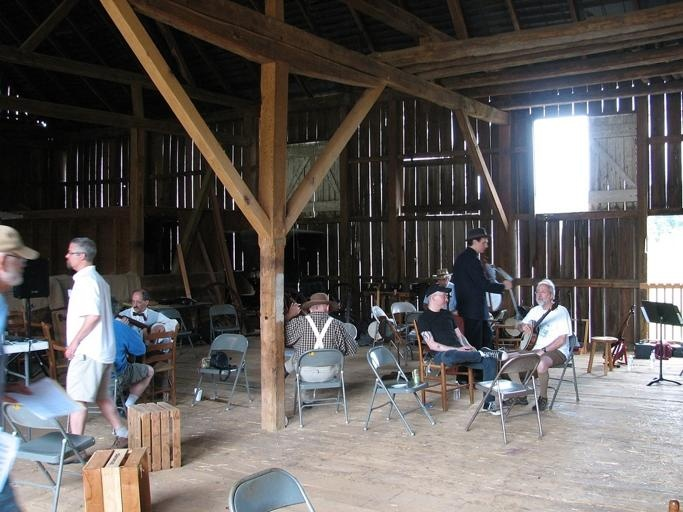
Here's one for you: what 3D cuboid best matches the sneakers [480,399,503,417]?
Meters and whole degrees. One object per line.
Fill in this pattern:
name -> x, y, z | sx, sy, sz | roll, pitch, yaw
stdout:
sneakers -> 1.898, 1.923, 7.704 | 0.118, 0.148, 0.334 | 5, -12, -19

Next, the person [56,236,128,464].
person -> -2.601, 0.929, 6.321 | 0.747, 2.199, 0.757 | 1, 2, -1

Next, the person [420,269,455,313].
person -> 1.689, 0.536, 10.329 | 0.517, 0.587, 0.943 | 0, 0, 15

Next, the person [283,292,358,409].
person -> -0.383, 1.210, 8.164 | 0.790, 1.517, 1.294 | 1, 6, -12

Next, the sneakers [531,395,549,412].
sneakers -> 2.562, 1.901, 7.828 | 0.140, 0.182, 0.438 | -4, -11, 28

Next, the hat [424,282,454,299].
hat -> 1.468, 0.487, 9.189 | 0.427, 0.171, 0.282 | -7, -3, -17

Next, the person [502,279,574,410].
person -> 2.716, 1.274, 8.106 | 0.234, 1.821, 0.806 | 11, 2, -22

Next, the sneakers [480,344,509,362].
sneakers -> 1.908, 1.207, 7.698 | 0.406, 0.152, 0.167 | 9, 9, 13

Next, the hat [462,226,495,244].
hat -> 1.931, -0.323, 8.647 | 0.424, 0.181, 0.400 | -17, -9, 20
